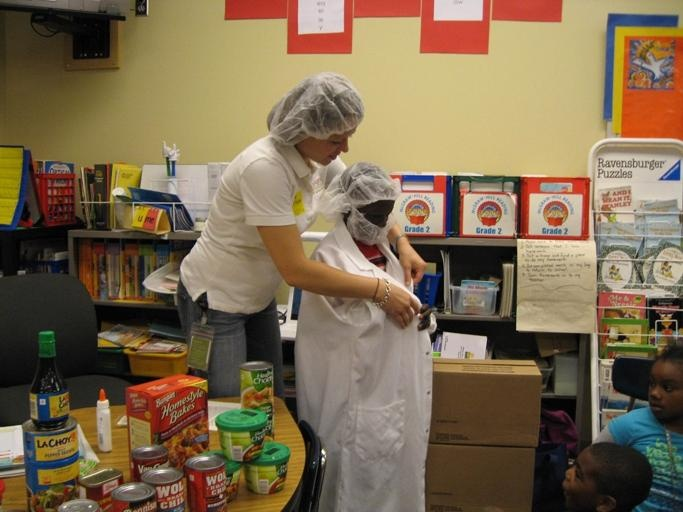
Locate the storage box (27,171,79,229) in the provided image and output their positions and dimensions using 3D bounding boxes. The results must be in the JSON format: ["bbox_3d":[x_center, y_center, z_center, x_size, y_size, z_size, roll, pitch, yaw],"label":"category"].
[{"bbox_3d":[-1.714,-0.329,3.851,0.151,0.287,0.276,3,6,19],"label":"storage box"}]

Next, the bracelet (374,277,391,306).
[{"bbox_3d":[0.160,0.135,2.553,0.042,0.101,0.080,13,12,15],"label":"bracelet"}]

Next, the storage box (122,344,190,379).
[{"bbox_3d":[-1.029,0.596,3.638,0.259,0.130,0.201,0,2,12],"label":"storage box"}]

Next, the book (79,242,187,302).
[{"bbox_3d":[-1.234,0.070,4.022,0.592,0.356,0.598,2,0,-1],"label":"book"}]

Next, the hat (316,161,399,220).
[{"bbox_3d":[0.040,-0.292,2.753,0.324,0.198,0.405,-22,18,-38],"label":"hat"}]

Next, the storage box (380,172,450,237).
[{"bbox_3d":[0.431,-0.201,3.644,0.357,0.375,0.381,2,-21,4],"label":"storage box"}]

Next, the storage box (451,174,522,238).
[{"bbox_3d":[0.785,-0.222,3.553,0.341,0.360,0.233,1,-17,11],"label":"storage box"}]

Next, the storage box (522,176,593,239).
[{"bbox_3d":[1.131,-0.253,3.414,0.284,0.281,0.118,1,4,5],"label":"storage box"}]

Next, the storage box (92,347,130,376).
[{"bbox_3d":[-1.301,0.603,3.672,0.157,0.114,0.242,2,6,5],"label":"storage box"}]

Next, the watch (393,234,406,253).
[{"bbox_3d":[0.261,-0.057,2.870,0.030,0.078,0.054,6,3,-6],"label":"watch"}]

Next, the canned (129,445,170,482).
[{"bbox_3d":[-0.579,0.601,1.954,0.097,0.116,0.096,-1,6,-37],"label":"canned"}]

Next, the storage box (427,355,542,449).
[{"bbox_3d":[0.636,0.657,2.951,0.480,0.343,0.285,0,10,13],"label":"storage box"}]

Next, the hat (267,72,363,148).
[{"bbox_3d":[-0.111,-0.605,2.616,0.363,0.217,0.427,-33,26,-33],"label":"hat"}]

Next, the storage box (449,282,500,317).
[{"bbox_3d":[0.713,0.232,3.496,0.256,0.204,0.174,2,7,13],"label":"storage box"}]

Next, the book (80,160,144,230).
[{"bbox_3d":[-1.363,-0.352,3.760,0.354,0.469,0.339,4,6,20],"label":"book"}]

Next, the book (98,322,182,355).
[{"bbox_3d":[-1.163,0.490,3.714,0.284,0.074,0.215,6,12,10],"label":"book"}]

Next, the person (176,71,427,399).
[{"bbox_3d":[-0.173,0.190,2.791,0.977,1.860,0.679,5,15,4],"label":"person"}]
